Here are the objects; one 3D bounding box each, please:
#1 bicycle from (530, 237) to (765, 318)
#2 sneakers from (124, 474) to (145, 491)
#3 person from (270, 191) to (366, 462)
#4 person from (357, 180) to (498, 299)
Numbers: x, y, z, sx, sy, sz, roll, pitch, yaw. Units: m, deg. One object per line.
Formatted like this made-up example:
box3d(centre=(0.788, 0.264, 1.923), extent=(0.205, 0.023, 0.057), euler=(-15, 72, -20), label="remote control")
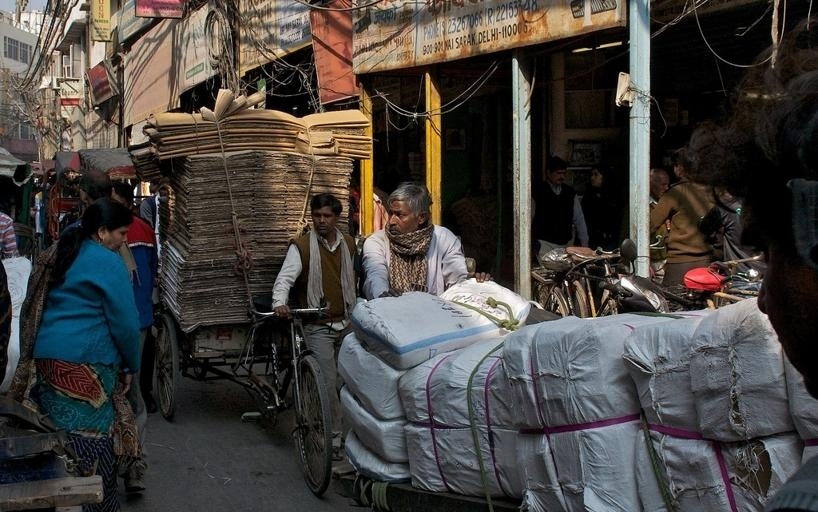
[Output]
box3d(centre=(2.265, 0.294, 7.774), extent=(0.847, 1.020, 1.843), euler=(-5, 7, -38), label="bicycle")
box3d(centre=(-2.033, 1.681, 5.476), extent=(0.091, 0.104, 0.147), euler=(7, -17, -31), label="sneakers")
box3d(centre=(-0.791, 0.489, 6.248), extent=(0.682, 2.034, 0.599), euler=(0, 1, -4), label="person")
box3d(centre=(0.020, -0.232, 6.074), extent=(0.919, 1.165, 0.907), euler=(-4, 7, -22), label="person")
